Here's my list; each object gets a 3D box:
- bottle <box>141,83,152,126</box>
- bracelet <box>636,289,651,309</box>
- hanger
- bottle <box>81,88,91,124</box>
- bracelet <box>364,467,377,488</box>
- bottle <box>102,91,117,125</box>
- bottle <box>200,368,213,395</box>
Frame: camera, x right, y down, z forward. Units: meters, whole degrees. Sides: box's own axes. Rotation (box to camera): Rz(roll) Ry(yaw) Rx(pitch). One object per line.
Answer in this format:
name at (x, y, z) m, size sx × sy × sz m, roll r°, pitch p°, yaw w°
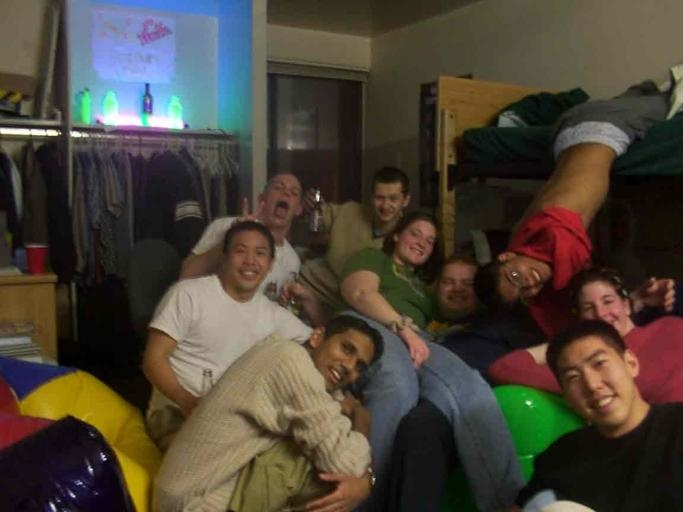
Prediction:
bottle at (-1.389, -1.078, 3.987) m, size 0.087 × 0.296 × 0.093 m, roll 0°, pitch 9°, yaw 0°
bracelet at (1.018, 0.148, 1.900) m, size 0.037 × 0.053 × 0.016 m, roll 0°, pitch -4°, yaw 8°
hanger at (-1.382, -0.689, 3.575) m, size 1.431 × 0.324 × 0.413 m, roll -2°, pitch 8°, yaw -11°
bottle at (-1.748, -1.019, 3.808) m, size 0.072 × 0.230 × 0.153 m, roll -3°, pitch 9°, yaw -17°
bracelet at (0.077, 0.587, 1.472) m, size 0.025 × 0.073 × 0.054 m, roll -2°, pitch 2°, yaw -4°
bottle at (-1.605, -1.031, 3.882) m, size 0.114 × 0.234 × 0.099 m, roll -4°, pitch 9°, yaw -23°
bottle at (-0.401, 0.369, 1.666) m, size 0.048 × 0.081 × 0.022 m, roll 6°, pitch -8°, yaw 14°
